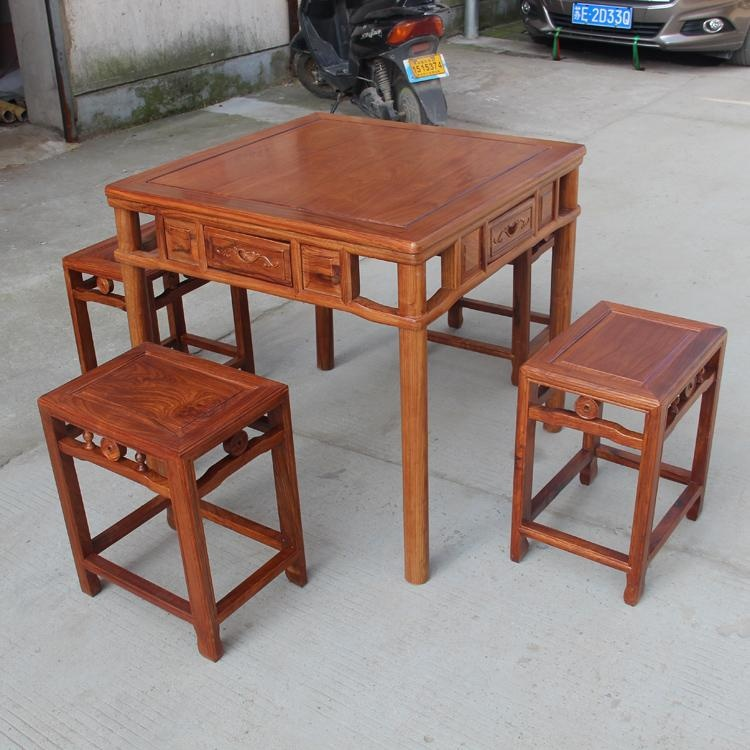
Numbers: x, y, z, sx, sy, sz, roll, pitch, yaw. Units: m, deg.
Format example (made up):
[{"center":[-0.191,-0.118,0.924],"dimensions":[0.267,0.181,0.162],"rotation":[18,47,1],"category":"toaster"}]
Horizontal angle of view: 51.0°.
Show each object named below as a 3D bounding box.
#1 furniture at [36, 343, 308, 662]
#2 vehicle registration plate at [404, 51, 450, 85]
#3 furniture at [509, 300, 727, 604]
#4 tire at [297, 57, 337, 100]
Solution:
[{"center":[-0.498,0.347,1.917],"dimensions":[0.579,0.649,0.485],"rotation":[24,45,29],"category":"furniture"},{"center":[0.292,-1.861,4.830],"dimensions":[0.415,0.190,0.044],"rotation":[-15,9,-27],"category":"vehicle registration plate"},{"center":[0.628,0.176,2.010],"dimensions":[0.380,0.594,0.595],"rotation":[16,34,31],"category":"furniture"},{"center":[-0.456,-2.306,6.126],"dimensions":[0.150,0.319,0.399],"rotation":[-29,28,-35],"category":"tire"}]
